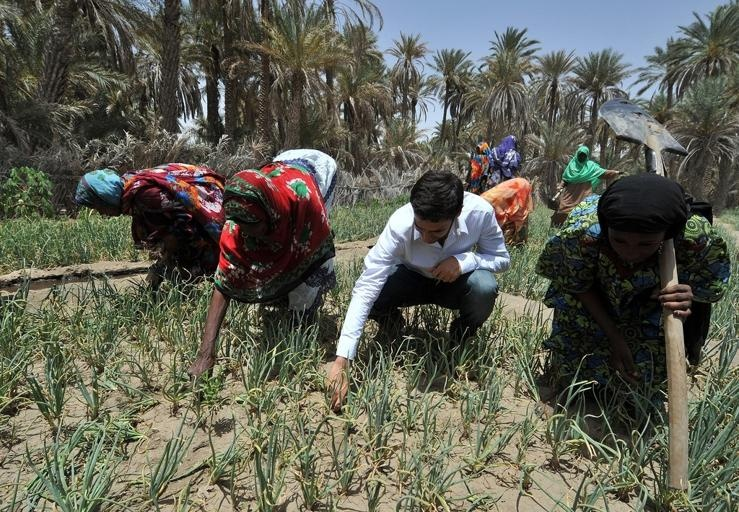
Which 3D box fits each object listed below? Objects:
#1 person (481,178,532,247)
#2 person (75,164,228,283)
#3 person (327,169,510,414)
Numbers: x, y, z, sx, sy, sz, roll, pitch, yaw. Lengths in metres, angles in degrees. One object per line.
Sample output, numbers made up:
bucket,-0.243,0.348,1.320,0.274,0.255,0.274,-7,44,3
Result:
person,1.688,-0.530,7.361,0.633,0.884,0.858,-12,-5,18
person,-1.931,-0.245,4.956,0.848,0.626,0.910,-18,-37,-4
person,0.467,-0.066,4.169,1.122,1.462,1.686,3,37,9
